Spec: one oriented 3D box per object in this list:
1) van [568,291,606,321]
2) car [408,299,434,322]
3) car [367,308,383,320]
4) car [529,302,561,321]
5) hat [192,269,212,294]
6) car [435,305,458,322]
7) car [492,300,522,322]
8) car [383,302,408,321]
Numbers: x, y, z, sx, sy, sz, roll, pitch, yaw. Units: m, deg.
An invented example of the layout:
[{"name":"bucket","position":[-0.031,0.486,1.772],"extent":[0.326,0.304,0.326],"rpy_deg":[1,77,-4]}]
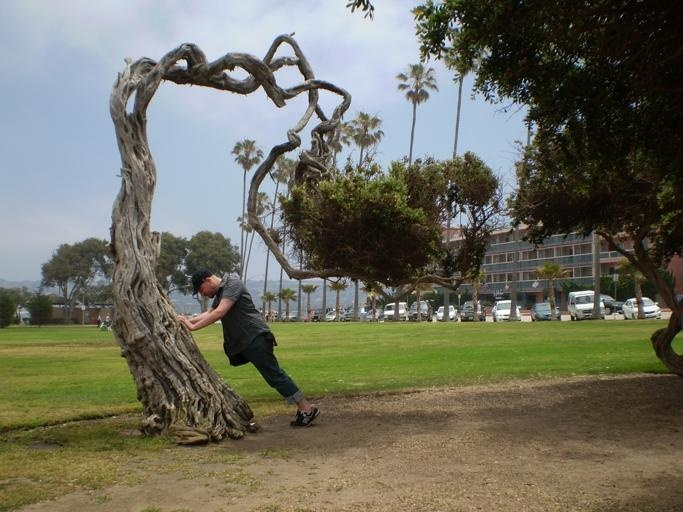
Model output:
[{"name":"van","position":[19.647,3.892,44.143],"extent":[1.841,2.291,6.543],"rpy_deg":[-5,-6,23]},{"name":"car","position":[9.991,6.770,66.884],"extent":[1.982,2.053,3.789],"rpy_deg":[-4,-16,13]},{"name":"car","position":[4.345,7.587,71.133],"extent":[2.144,1.520,8.304],"rpy_deg":[-4,-6,2]},{"name":"car","position":[18.099,4.937,48.612],"extent":[1.223,1.392,2.877],"rpy_deg":[-2,-6,-16]},{"name":"hat","position":[-2.190,0.372,8.341],"extent":[0.261,0.370,0.254],"rpy_deg":[24,9,-5]},{"name":"car","position":[11.474,6.146,58.936],"extent":[1.984,1.541,9.441],"rpy_deg":[-4,-6,10]},{"name":"car","position":[14.469,4.789,48.310],"extent":[1.637,1.545,2.980],"rpy_deg":[-3,-15,6]},{"name":"car","position":[6.215,6.218,62.704],"extent":[1.947,1.759,3.124],"rpy_deg":[-4,-17,14]}]
